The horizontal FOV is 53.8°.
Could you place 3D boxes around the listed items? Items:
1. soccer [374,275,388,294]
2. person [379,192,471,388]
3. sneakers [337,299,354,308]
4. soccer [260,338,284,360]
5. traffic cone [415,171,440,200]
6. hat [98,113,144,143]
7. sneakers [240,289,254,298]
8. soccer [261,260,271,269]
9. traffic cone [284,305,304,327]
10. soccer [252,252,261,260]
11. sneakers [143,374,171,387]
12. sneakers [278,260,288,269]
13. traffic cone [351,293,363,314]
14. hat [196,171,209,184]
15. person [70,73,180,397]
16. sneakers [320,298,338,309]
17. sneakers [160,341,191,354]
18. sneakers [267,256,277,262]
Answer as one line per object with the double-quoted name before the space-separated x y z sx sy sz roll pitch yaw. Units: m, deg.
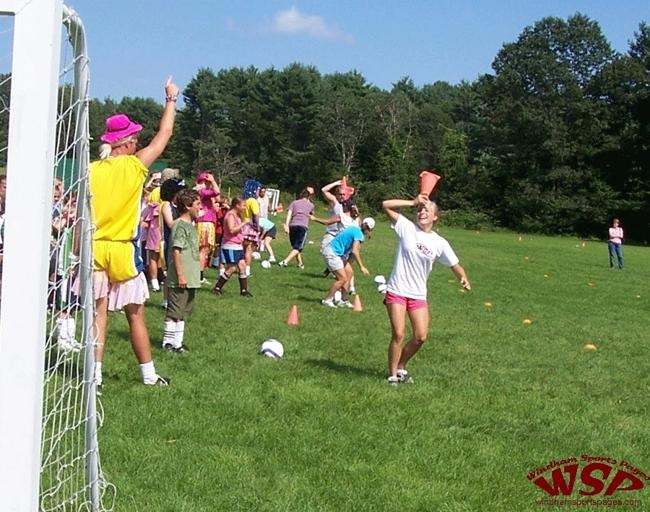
"soccer" 1.247 0.612 14.435 0.366 0.233 0.524 13 -29 17
"person" 1.027 0.372 7.214 0.783 2.130 0.603 1 4 5
"sneakers" 0.384 0.893 11.879 0.320 0.164 0.121 5 10 22
"soccer" -0.649 1.134 7.907 0.215 0.194 0.204 16 30 -9
"traffic cone" 1.163 -0.805 7.167 0.200 0.295 0.522 2 4 8
"hat" -1.939 -1.217 6.102 0.352 0.302 0.340 0 4 -20
"sneakers" -1.467 0.704 12.237 0.099 0.157 0.331 4 7 29
"soccer" -1.559 0.222 16.903 0.168 0.141 0.230 7 1 10
"traffic cone" -0.481 0.928 9.947 0.218 0.285 0.241 1 0 -28
"soccer" -2.010 -0.009 18.827 0.182 0.259 0.208 -10 -4 17
"sneakers" -1.729 1.282 6.583 0.192 0.098 0.124 -2 15 -14
"sneakers" -1.112 0.220 17.009 0.137 0.141 0.313 -31 -4 -2
"traffic cone" 0.575 0.877 11.616 0.198 0.318 0.225 1 -16 -4
"hat" -2.259 -1.462 11.863 0.279 0.162 0.417 -22 8 -16
"person" -1.905 -0.190 6.369 0.857 2.998 0.643 0 0 -18
"sneakers" 0.066 0.873 11.808 0.280 0.148 0.117 5 6 41
"sneakers" -1.829 1.154 7.869 0.372 0.186 0.140 1 22 -5
"sneakers" -1.474 0.088 17.922 0.181 0.157 0.218 -4 -2 -10
